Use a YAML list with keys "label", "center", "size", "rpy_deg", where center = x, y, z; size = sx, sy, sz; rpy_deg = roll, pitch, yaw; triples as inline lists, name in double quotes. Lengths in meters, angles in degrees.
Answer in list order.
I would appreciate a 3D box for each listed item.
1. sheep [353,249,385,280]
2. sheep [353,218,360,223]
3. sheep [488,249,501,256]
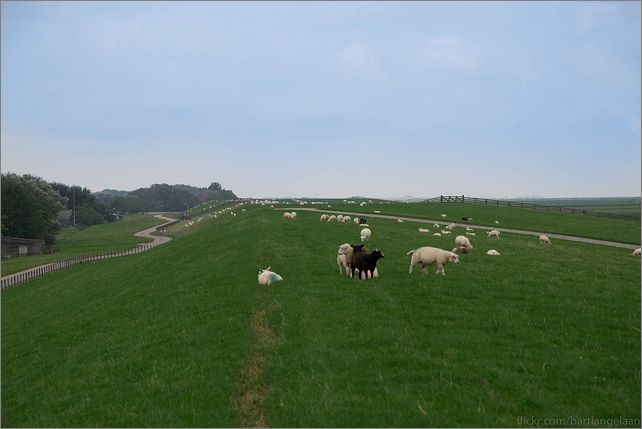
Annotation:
- label: "sheep"
  center: [3.781, 4.162, 39.171]
  size: [1.120, 2.646, 2.997]
  rpy_deg: [-1, 2, -43]
- label: "sheep"
  center: [5.153, 0.836, 67.976]
  size: [0.705, 0.721, 1.319]
  rpy_deg: [-1, 1, 0]
- label: "sheep"
  center: [17.223, 3.770, 46.318]
  size: [1.610, 0.851, 0.497]
  rpy_deg: [5, -3, 3]
